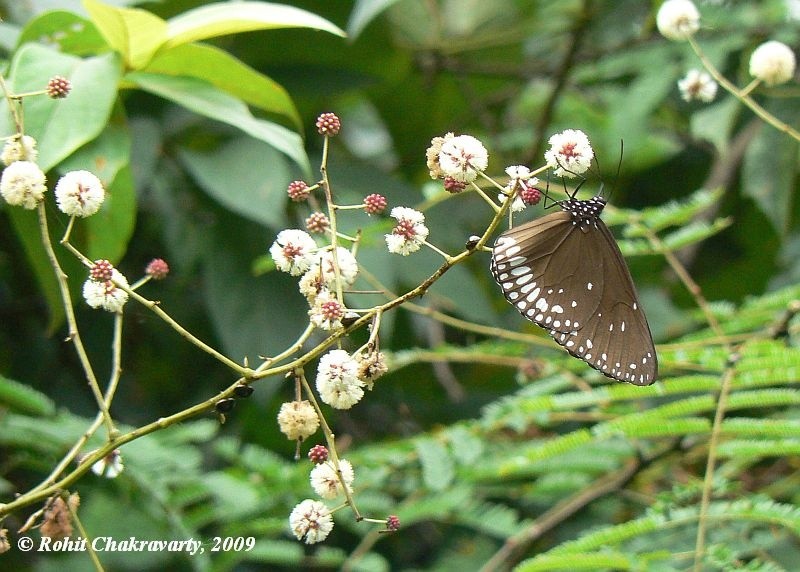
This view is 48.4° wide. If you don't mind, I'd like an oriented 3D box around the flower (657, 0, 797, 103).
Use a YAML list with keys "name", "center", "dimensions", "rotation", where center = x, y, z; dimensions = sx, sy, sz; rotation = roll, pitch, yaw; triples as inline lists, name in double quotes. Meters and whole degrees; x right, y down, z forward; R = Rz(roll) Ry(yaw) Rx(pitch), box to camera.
- name: "flower"
  center: [0.997, -0.746, 2.745]
  dimensions: [0.271, 0.325, 0.302]
  rotation: [-24, 22, -22]
